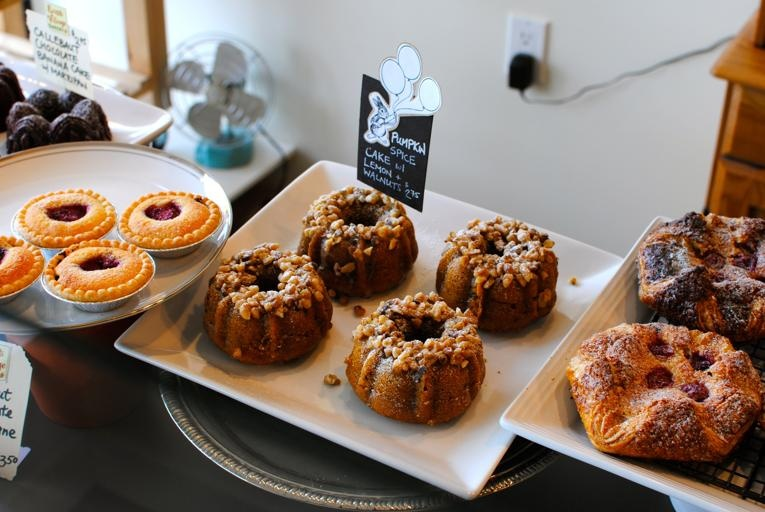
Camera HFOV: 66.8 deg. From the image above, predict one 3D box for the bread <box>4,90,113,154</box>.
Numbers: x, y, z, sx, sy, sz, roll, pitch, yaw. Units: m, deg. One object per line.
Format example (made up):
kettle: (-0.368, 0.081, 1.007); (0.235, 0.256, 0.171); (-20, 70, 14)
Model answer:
bread: (-1.046, -0.434, 1.880); (0.253, 0.119, 0.257); (19, 32, 7)

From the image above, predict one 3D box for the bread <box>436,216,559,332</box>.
bread: (0.353, 0.040, 1.835); (0.376, 0.239, 0.399); (24, 38, 32)

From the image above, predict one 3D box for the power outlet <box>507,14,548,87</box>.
power outlet: (0.518, -0.755, 2.119); (0.154, 0.214, 0.056); (15, 33, 25)

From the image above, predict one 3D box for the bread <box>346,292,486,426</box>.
bread: (0.083, 0.273, 1.551); (0.362, 0.180, 0.305); (0, 39, -5)

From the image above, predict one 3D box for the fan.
fan: (-0.753, -0.690, 2.599); (0.504, 0.594, 0.312); (-18, 36, -34)

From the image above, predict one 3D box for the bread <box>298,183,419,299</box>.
bread: (-0.078, -0.062, 1.933); (0.394, 0.245, 0.399); (-5, 35, -5)

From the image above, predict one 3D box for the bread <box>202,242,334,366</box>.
bread: (-0.332, 0.129, 1.718); (0.367, 0.228, 0.373); (10, 33, 0)
